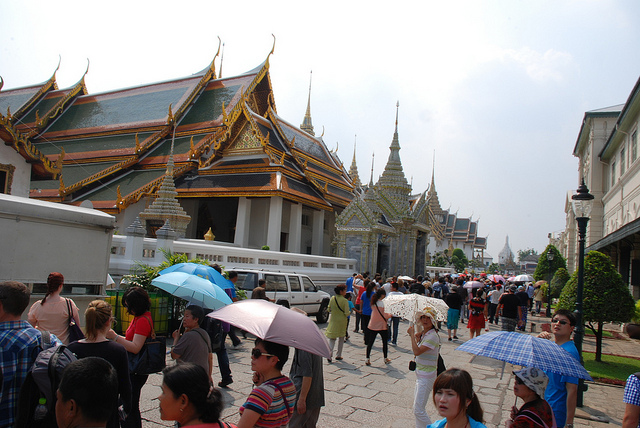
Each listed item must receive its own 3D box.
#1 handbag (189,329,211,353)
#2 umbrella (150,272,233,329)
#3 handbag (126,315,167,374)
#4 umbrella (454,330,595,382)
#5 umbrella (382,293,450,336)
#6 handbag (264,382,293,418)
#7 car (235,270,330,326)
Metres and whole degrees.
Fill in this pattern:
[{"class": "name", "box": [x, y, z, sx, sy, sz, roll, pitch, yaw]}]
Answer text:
[{"class": "handbag", "box": [-1.615, 1.663, 5.667, 0.075, 0.286, 0.287, -16, -40, 43]}, {"class": "umbrella", "box": [-2.156, 1.315, 7.419, 0.918, 0.571, 0.923, 14, -24, 31]}, {"class": "handbag", "box": [-2.146, 1.736, 5.618, 0.380, 0.747, 0.731, 3, -12, -22]}, {"class": "umbrella", "box": [2.322, 1.585, 4.926, 1.326, 0.411, 0.781, 2, -9, 20]}, {"class": "umbrella", "box": [2.171, 2.148, 9.710, 1.769, 0.683, 1.797, -5, -3, 27]}, {"class": "handbag", "box": [-0.344, 1.756, 4.107, 0.079, 0.282, 0.296, -37, 12, 14]}, {"class": "car", "box": [-0.898, 2.533, 13.549, 1.799, 1.500, 3.293, -2, -2, 39]}]
